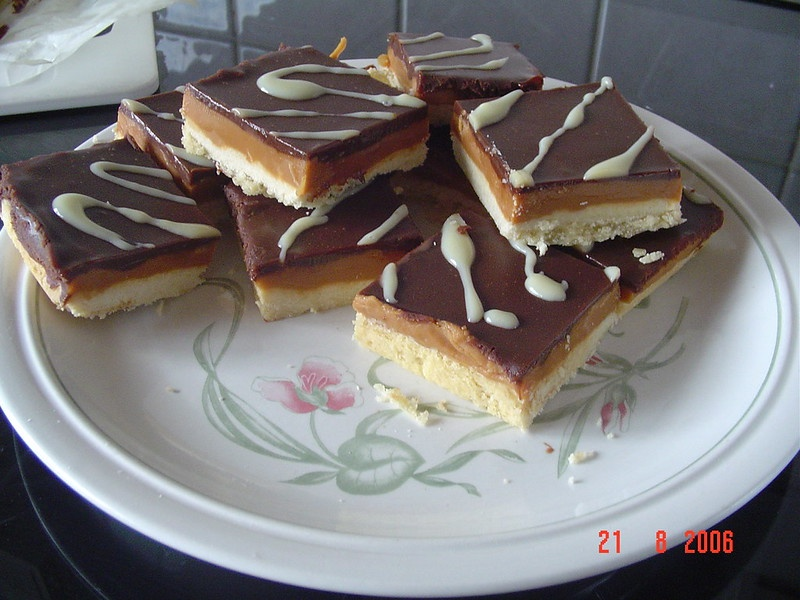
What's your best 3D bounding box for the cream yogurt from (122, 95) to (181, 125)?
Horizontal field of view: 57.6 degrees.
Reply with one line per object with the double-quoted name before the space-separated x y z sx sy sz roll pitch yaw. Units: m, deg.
"cream yogurt" -0.726 -0.553 2.135 0.173 0.046 0.035 22 37 -21
